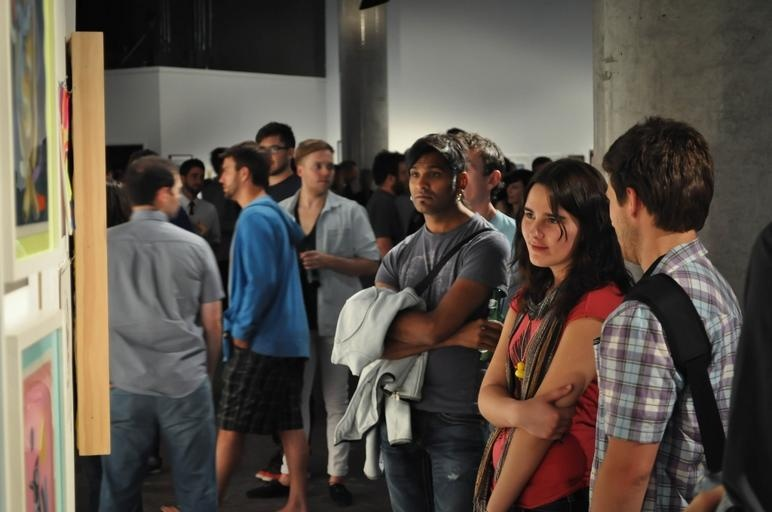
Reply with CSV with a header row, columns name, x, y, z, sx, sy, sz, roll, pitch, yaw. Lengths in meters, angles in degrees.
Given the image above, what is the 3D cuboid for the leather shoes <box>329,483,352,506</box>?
name,x,y,z,sx,sy,sz,roll,pitch,yaw
leather shoes,-0.243,1.274,3.980,0.074,0.145,0.056,-28,-27,-11

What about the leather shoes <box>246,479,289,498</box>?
name,x,y,z,sx,sy,sz,roll,pitch,yaw
leather shoes,-0.608,1.231,3.956,0.244,0.101,0.089,1,0,-8
